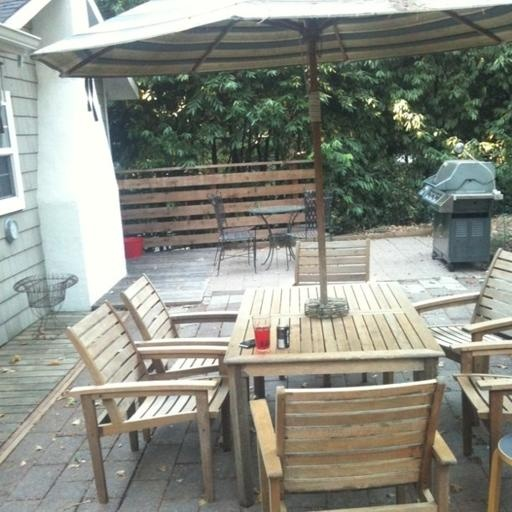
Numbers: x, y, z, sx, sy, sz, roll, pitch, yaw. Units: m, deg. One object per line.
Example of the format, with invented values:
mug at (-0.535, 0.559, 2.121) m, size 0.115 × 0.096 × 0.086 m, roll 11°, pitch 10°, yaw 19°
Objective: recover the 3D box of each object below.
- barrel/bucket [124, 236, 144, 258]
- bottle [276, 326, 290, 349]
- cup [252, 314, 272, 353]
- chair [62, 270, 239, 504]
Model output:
barrel/bucket at (-2.161, -0.146, 9.481) m, size 0.390 × 0.274 × 0.400 m, roll -1°, pitch -4°, yaw 0°
bottle at (0.133, 0.394, 2.673) m, size 0.061 × 0.112 × 0.128 m, roll -3°, pitch 12°, yaw 6°
cup at (0.029, 0.382, 2.670) m, size 0.086 × 0.150 × 0.200 m, roll -5°, pitch 12°, yaw -1°
chair at (-0.547, 0.736, 3.065) m, size 0.804 × 1.011 × 1.073 m, roll -6°, pitch 12°, yaw -4°
